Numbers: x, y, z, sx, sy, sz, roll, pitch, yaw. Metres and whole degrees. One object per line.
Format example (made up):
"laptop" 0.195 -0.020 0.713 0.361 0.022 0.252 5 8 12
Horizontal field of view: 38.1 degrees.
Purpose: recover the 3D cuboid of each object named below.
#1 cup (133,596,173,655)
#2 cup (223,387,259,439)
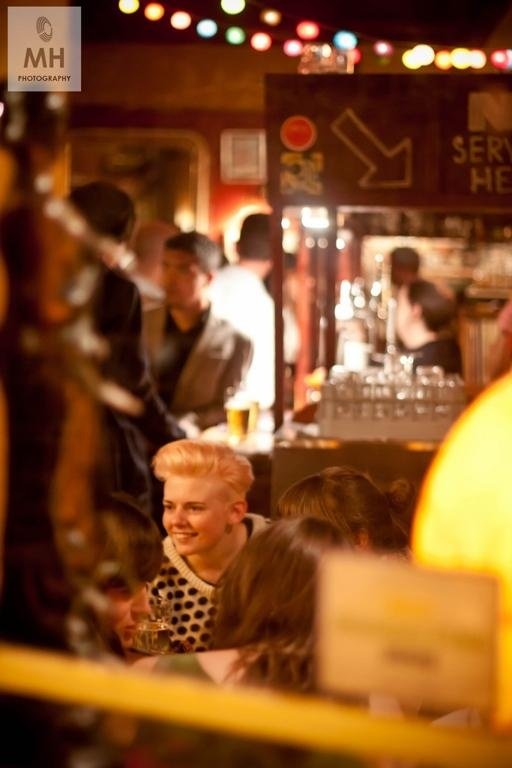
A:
"cup" -0.271 0.634 1.925 0.098 0.115 0.128 1 3 -9
"cup" -0.064 0.114 2.598 0.149 0.189 0.137 1 -1 0
